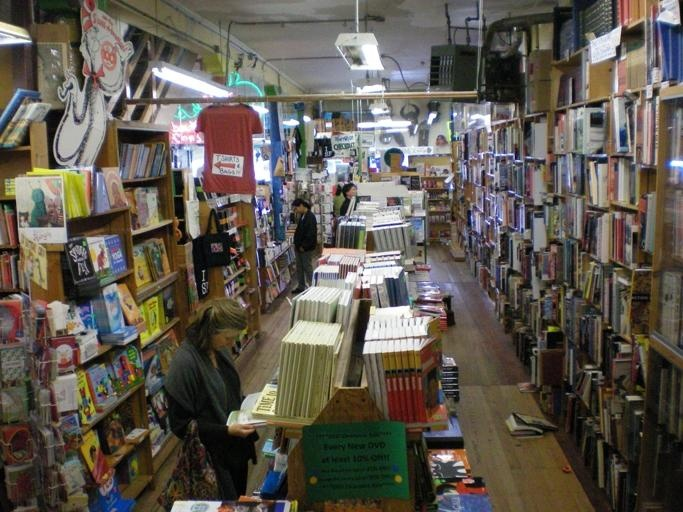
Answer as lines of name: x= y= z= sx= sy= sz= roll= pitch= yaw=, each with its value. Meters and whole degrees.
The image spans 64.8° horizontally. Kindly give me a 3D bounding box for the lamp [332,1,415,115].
lamp: x=0.463 y=-2.568 z=6.873 sx=0.754 sy=1.229 sz=2.560 roll=0 pitch=-1 yaw=7
